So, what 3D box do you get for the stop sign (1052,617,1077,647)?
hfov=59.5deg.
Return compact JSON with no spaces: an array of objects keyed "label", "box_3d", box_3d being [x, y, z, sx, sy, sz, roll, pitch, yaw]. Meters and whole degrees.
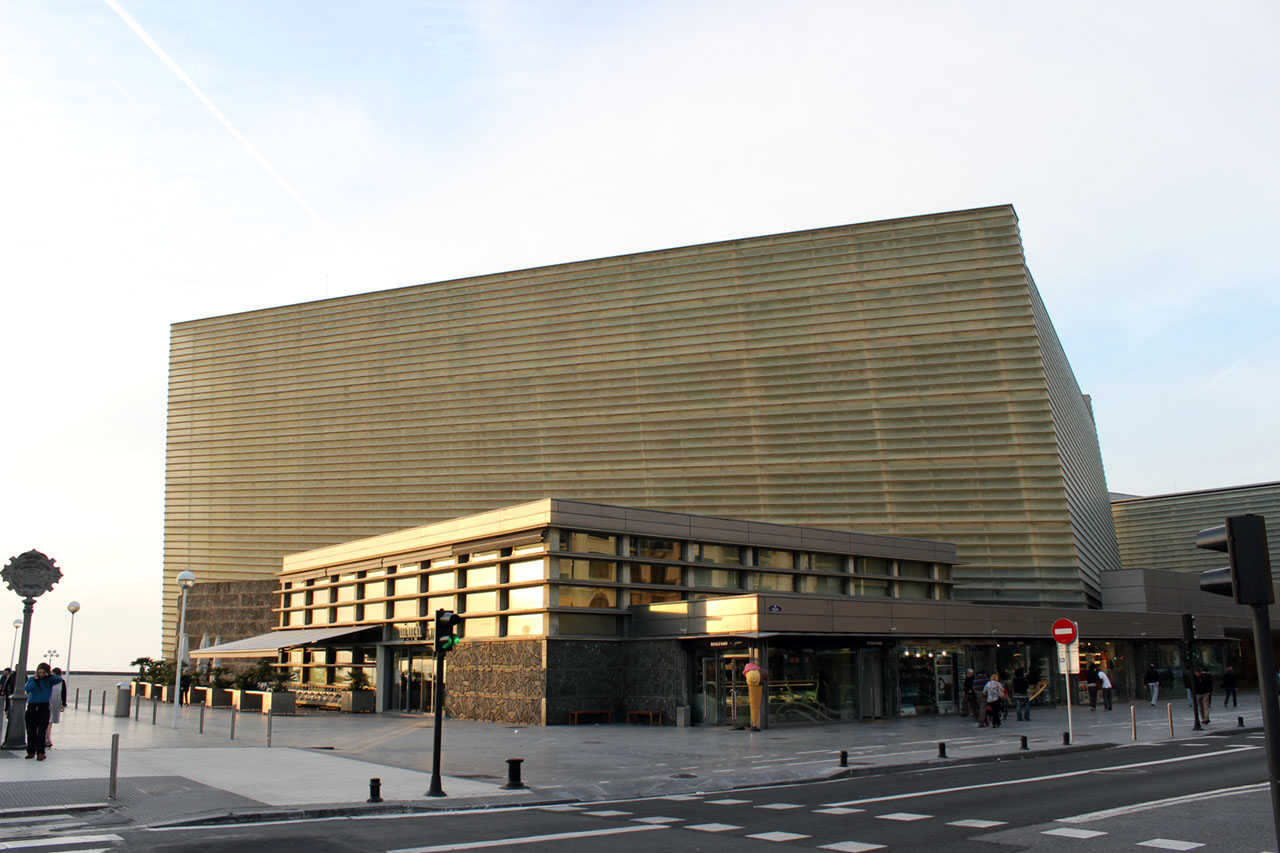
[{"label":"stop sign","box_3d":[13.275,6.383,34.958,0.597,0.843,0.624,-4,-19,5]}]
